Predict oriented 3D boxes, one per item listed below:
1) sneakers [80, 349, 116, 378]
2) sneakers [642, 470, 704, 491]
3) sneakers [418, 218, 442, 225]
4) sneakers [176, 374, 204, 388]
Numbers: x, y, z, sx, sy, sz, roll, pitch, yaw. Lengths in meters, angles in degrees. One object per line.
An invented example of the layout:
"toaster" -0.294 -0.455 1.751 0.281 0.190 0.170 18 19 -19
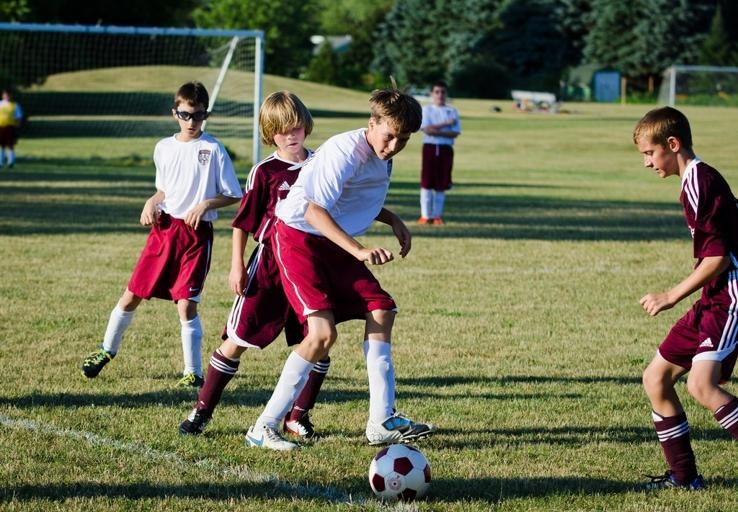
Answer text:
"sneakers" -2.616 1.023 12.927 0.171 0.161 0.378 41 37 3
"sneakers" 2.652 1.920 11.777 0.531 0.222 0.182 4 -5 10
"sneakers" 0.893 -0.482 19.340 0.347 0.148 0.124 6 -2 -22
"sneakers" -1.707 1.176 12.970 0.286 0.136 0.106 3 2 -5
